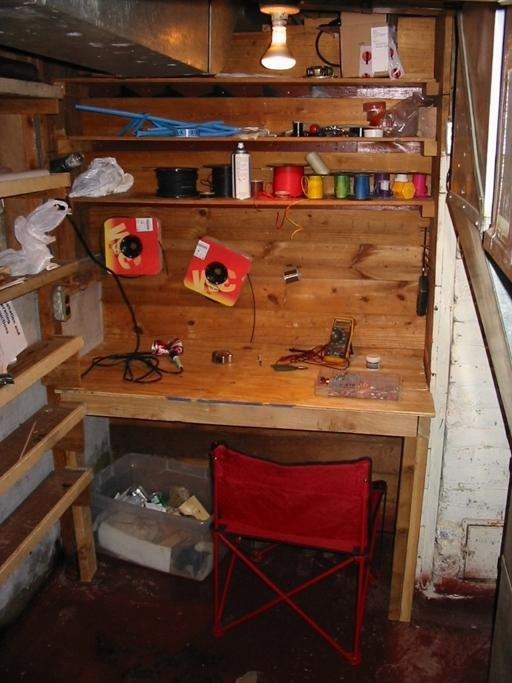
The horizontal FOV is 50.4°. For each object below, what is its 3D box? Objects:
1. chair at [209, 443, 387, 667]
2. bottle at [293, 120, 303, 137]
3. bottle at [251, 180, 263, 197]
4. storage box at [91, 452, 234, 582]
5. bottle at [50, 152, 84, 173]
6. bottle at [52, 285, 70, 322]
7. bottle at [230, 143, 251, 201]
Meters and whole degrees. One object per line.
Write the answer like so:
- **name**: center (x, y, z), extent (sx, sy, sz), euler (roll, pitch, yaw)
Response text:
- **chair**: center (0.187, 0.733, 2.197), extent (0.623, 0.760, 0.565), euler (4, 10, 16)
- **bottle**: center (0.189, -0.958, 2.466), extent (0.052, 0.058, 0.059), euler (1, 20, 3)
- **bottle**: center (0.003, -0.733, 2.618), extent (0.052, 0.078, 0.101), euler (0, 20, -1)
- **storage box**: center (-0.519, 0.884, 2.840), extent (0.710, 0.327, 0.472), euler (3, 6, 24)
- **bottle**: center (-0.844, -0.796, 2.459), extent (0.178, 0.091, 0.064), euler (-9, -2, -2)
- **bottle**: center (-0.848, -0.169, 2.400), extent (0.035, 0.125, 0.093), euler (6, 8, 21)
- **bottle**: center (-0.071, -0.793, 2.557), extent (0.090, 0.254, 0.090), euler (0, 20, 0)
